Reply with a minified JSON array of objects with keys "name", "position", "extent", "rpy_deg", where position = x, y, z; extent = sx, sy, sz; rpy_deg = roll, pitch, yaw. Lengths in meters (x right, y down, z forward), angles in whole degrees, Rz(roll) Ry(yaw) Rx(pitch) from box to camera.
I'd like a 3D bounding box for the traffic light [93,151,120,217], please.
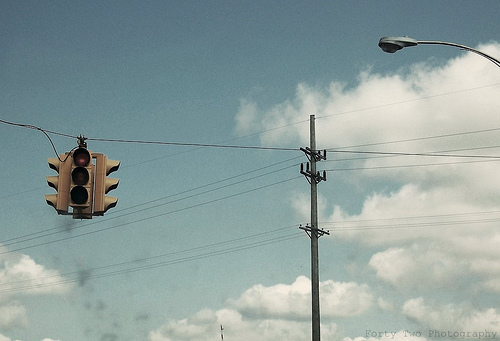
[{"name":"traffic light","position":[-3.918,0.375,24.250],"extent":[0.693,1.556,0.753],"rpy_deg":[4,-31,-9]}]
